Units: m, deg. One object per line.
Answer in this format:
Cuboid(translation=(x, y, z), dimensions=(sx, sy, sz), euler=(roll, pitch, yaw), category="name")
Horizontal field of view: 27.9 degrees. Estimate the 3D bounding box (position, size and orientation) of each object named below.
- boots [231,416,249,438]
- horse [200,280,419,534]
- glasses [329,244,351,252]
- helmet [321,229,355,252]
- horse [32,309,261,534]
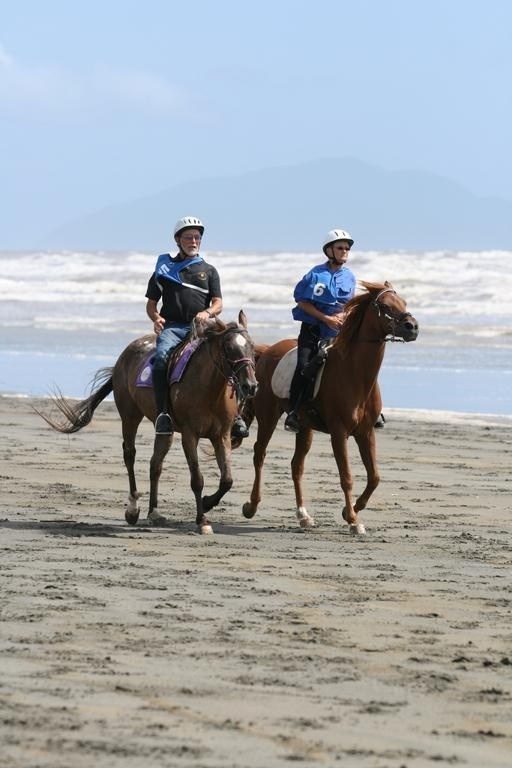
Cuboid(translation=(-0.104, 0.363, 8.923), dimensions=(0.143, 0.179, 0.191), euler=(1, -8, -29), category="boots")
Cuboid(translation=(0.607, 0.269, 9.231), dimensions=(0.759, 2.098, 3.109), euler=(3, -2, -26), category="horse")
Cuboid(translation=(0.743, -1.217, 9.082), dimensions=(0.086, 0.057, 0.115), euler=(0, -13, -20), category="glasses")
Cuboid(translation=(0.734, -1.325, 9.117), dimensions=(0.209, 0.125, 0.247), euler=(3, -33, -14), category="helmet")
Cuboid(translation=(-0.989, 0.276, 9.281), dimensions=(0.754, 1.833, 3.367), euler=(-5, 7, -35), category="horse")
